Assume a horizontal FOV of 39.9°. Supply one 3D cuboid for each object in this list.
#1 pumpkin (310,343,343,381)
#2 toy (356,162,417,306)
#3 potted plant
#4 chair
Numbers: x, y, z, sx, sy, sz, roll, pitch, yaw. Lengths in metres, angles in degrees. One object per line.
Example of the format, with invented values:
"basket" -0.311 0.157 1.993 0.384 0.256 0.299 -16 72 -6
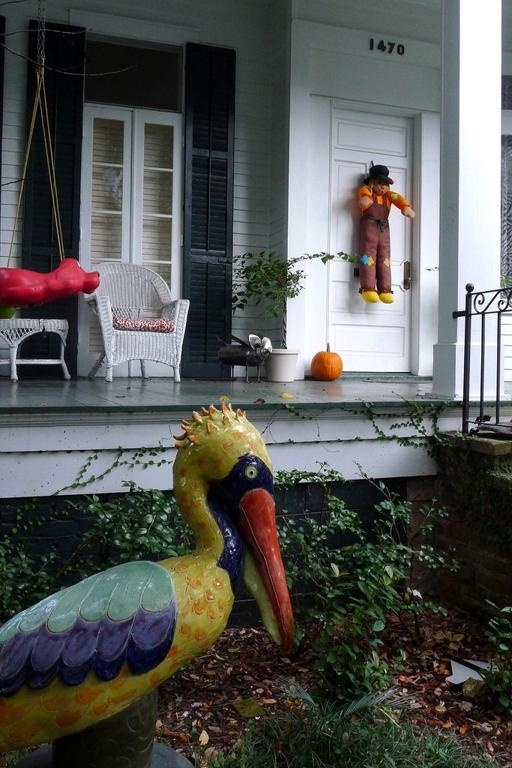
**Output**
"pumpkin" 0.560 -0.179 5.621 0.284 0.356 0.279 1 -1 -43
"toy" 1.079 -1.282 6.037 0.452 1.164 0.508 -3 -3 -1
"potted plant" 0.177 -0.620 5.540 0.848 1.125 1.306 -4 -2 5
"chair" -0.839 -0.455 4.776 0.693 0.808 0.649 1 2 -44
